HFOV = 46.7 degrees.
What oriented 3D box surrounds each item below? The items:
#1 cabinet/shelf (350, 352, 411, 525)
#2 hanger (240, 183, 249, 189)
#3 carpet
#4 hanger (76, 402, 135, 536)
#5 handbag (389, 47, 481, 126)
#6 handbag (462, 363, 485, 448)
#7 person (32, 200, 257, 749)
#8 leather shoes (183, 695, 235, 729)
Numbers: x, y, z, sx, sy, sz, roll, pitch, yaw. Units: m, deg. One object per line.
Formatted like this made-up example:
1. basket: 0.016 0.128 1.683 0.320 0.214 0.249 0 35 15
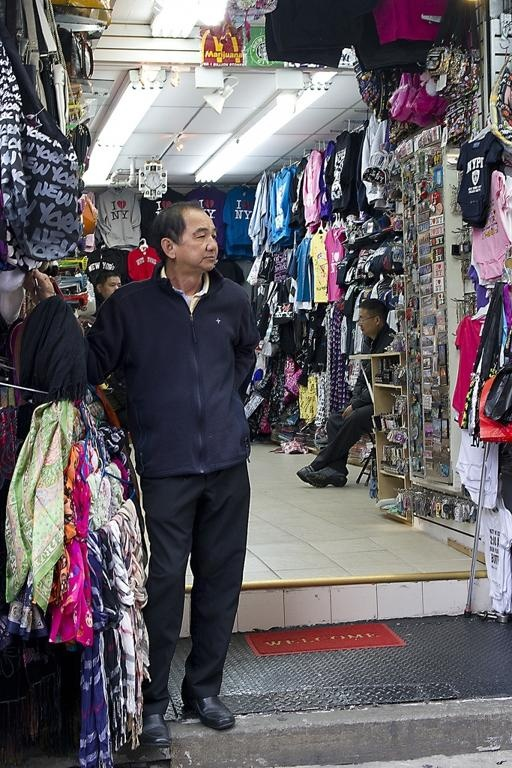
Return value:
1. cabinet/shelf: 1.071 0.405 4.608 0.362 1.263 0.646 -4 3 -21
2. hanger: -0.177 -3.358 10.108 0.098 0.049 0.140 4 10 -11
3. carpet: 0.284 1.084 2.520 0.644 0.046 0.328 1 1 -6
4. hanger: -0.371 0.230 1.591 0.108 0.275 0.204 -2 10 13
5. handbag: 1.065 -1.767 3.547 0.183 0.326 0.424 15 -45 -38
6. handbag: 1.009 0.114 2.752 0.078 0.332 0.363 1 1 14
7. person: -0.228 0.243 1.799 0.557 1.591 0.387 0 1 -17
8. leather shoes: -0.147 0.981 1.814 0.071 0.074 0.189 2 -7 -32
